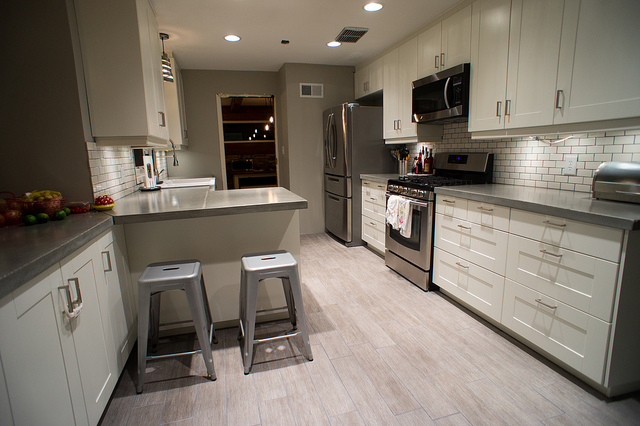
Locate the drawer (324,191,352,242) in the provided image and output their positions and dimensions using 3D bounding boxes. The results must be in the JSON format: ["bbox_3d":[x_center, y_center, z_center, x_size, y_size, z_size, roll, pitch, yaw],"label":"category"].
[{"bbox_3d":[0.267,0.040,5.690,0.295,0.602,0.629,-1,9,-17],"label":"drawer"}]

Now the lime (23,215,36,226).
[{"bbox_3d":[-2.032,0.049,2.803,0.084,0.071,0.063,-5,13,-15],"label":"lime"}]

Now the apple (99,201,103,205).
[{"bbox_3d":[-1.701,-0.078,3.125,0.023,0.023,0.018,-5,13,-14],"label":"apple"}]

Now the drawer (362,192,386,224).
[{"bbox_3d":[0.680,-0.084,5.116,0.292,0.373,0.528,1,7,-14],"label":"drawer"}]

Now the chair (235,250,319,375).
[{"bbox_3d":[-0.385,0.737,3.322,0.685,0.845,0.671,-4,13,-9],"label":"chair"}]

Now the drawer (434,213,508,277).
[{"bbox_3d":[1.333,0.365,3.579,0.403,0.366,0.726,2,8,-23],"label":"drawer"}]

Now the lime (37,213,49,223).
[{"bbox_3d":[-1.950,0.038,2.838,0.057,0.058,0.061,-6,-29,-15],"label":"lime"}]

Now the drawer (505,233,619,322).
[{"bbox_3d":[1.756,0.444,2.953,0.444,0.498,0.784,9,5,-25],"label":"drawer"}]

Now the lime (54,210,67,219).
[{"bbox_3d":[-1.885,0.012,2.925,0.043,0.062,0.074,10,17,42],"label":"lime"}]

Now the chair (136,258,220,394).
[{"bbox_3d":[-1.127,0.816,3.140,0.608,0.872,0.597,-5,13,-13],"label":"chair"}]

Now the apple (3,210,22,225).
[{"bbox_3d":[-2.121,0.023,2.780,0.069,0.078,0.094,4,3,-18],"label":"apple"}]

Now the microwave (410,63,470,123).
[{"bbox_3d":[1.263,-1.238,4.150,0.242,0.428,0.714,-2,7,-15],"label":"microwave"}]

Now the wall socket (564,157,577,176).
[{"bbox_3d":[2.145,-0.403,3.452,0.022,0.159,0.094,-11,15,-34],"label":"wall socket"}]

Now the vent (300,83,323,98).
[{"bbox_3d":[-0.125,-1.786,5.849,0.346,0.205,0.022,-6,14,-17],"label":"vent"}]

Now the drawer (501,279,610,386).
[{"bbox_3d":[1.888,0.810,3.153,0.446,0.616,0.841,-15,19,-27],"label":"drawer"}]

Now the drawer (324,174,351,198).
[{"bbox_3d":[0.251,-0.378,5.624,0.303,0.168,0.409,-1,7,-21],"label":"drawer"}]

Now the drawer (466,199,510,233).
[{"bbox_3d":[1.421,0.024,3.392,0.157,0.230,0.324,-5,12,-41],"label":"drawer"}]

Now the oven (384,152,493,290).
[{"bbox_3d":[1.201,-0.015,4.446,0.837,1.328,0.915,15,27,39],"label":"oven"}]

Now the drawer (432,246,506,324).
[{"bbox_3d":[1.517,0.587,3.790,0.469,0.547,0.872,-10,17,-23],"label":"drawer"}]

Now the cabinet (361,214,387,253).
[{"bbox_3d":[0.677,0.252,5.171,0.327,0.360,0.559,1,10,-15],"label":"cabinet"}]

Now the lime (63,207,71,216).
[{"bbox_3d":[-1.893,-0.011,3.011,0.042,0.055,0.031,-3,-22,18],"label":"lime"}]

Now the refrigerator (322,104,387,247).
[{"bbox_3d":[0.424,-0.522,5.603,0.984,1.907,0.604,3,14,21],"label":"refrigerator"}]

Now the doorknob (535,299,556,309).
[{"bbox_3d":[1.705,0.685,3.029,0.090,0.029,0.093,-2,3,-21],"label":"doorknob"}]

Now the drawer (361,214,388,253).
[{"bbox_3d":[0.682,0.249,5.155,0.326,0.371,0.586,1,10,-16],"label":"drawer"}]
